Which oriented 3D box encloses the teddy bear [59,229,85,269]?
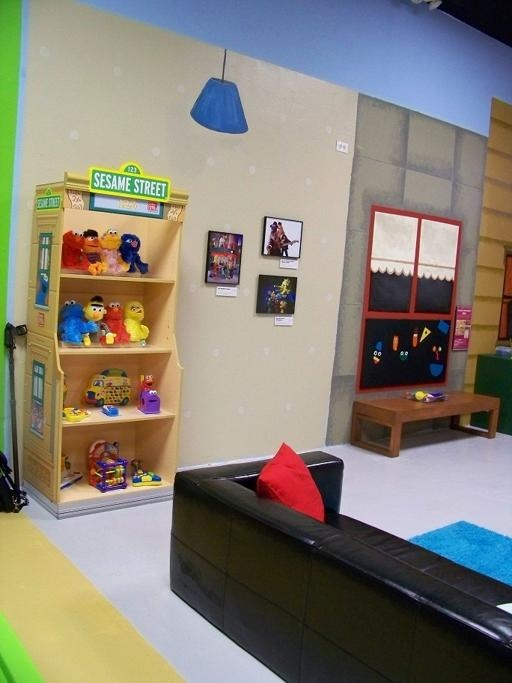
[{"bbox_3d":[-1.094,-0.537,2.923,0.130,0.229,0.077,2,3,-34],"label":"teddy bear"}]

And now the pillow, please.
[{"bbox_3d":[0.165,0.654,2.049,0.243,0.330,0.462,-7,4,11],"label":"pillow"}]

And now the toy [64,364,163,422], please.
[{"bbox_3d":[-0.934,0.335,3.205,0.526,0.246,0.292,-6,11,-35],"label":"toy"}]

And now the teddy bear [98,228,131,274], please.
[{"bbox_3d":[-0.927,-0.580,3.115,0.233,0.274,0.236,6,13,9],"label":"teddy bear"}]

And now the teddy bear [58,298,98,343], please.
[{"bbox_3d":[-1.101,-0.109,3.018,0.240,0.264,0.243,3,3,-19],"label":"teddy bear"}]

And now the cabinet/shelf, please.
[{"bbox_3d":[-0.955,-0.019,3.121,0.883,2.068,0.588,2,3,-38],"label":"cabinet/shelf"}]

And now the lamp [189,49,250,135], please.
[{"bbox_3d":[-0.222,-1.714,3.266,0.387,0.523,0.351,25,32,23],"label":"lamp"}]

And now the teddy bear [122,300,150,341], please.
[{"bbox_3d":[-0.843,-0.125,3.322,0.201,0.287,0.179,-2,-2,-32],"label":"teddy bear"}]

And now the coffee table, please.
[{"bbox_3d":[1.894,0.822,5.165,2.049,0.480,0.530,2,3,-36],"label":"coffee table"}]
